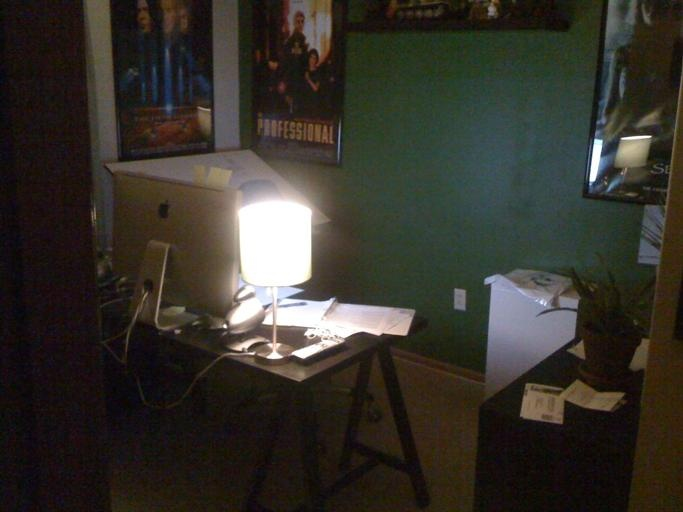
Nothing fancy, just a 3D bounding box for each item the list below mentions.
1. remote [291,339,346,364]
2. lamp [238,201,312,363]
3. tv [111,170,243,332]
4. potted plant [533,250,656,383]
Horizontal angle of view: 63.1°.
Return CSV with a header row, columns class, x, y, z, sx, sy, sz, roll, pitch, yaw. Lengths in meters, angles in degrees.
class,x,y,z,sx,sy,sz,roll,pitch,yaw
remote,-0.088,0.336,2.000,0.072,0.021,0.145,11,18,31
lamp,-0.245,0.072,2.038,0.269,0.524,0.282,-10,12,-34
tv,-0.624,-0.013,2.112,0.524,0.433,0.176,14,26,28
potted plant,0.899,0.161,2.136,0.441,0.607,0.413,-4,8,-16
